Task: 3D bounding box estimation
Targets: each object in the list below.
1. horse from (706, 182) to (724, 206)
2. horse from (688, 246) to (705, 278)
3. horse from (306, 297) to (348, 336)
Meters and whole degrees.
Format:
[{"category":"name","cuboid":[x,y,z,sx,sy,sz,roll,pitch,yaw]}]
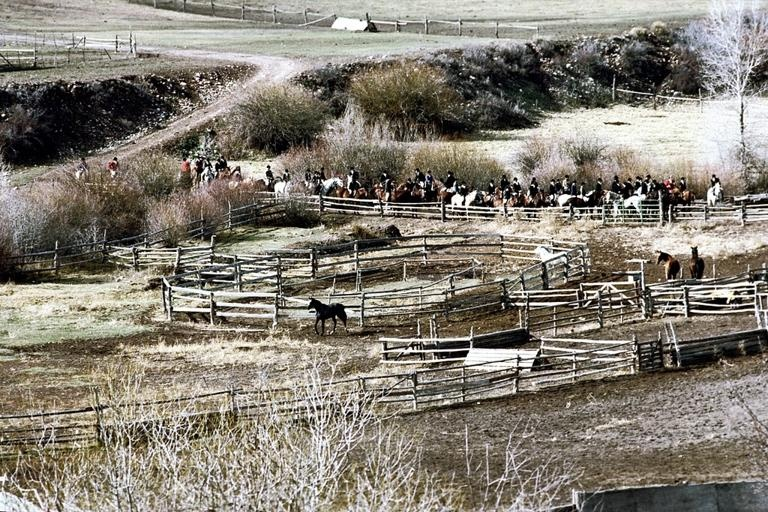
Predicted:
[{"category":"horse","cuboid":[17.129,-3.163,74.962,0.720,1.141,1.018,-2,7,19]},{"category":"horse","cuboid":[14.213,0.445,65.531,0.563,1.684,2.212,-3,7,10]},{"category":"horse","cuboid":[-2.614,2.819,64.580,2.154,1.666,0.546,-3,-3,-38]}]
